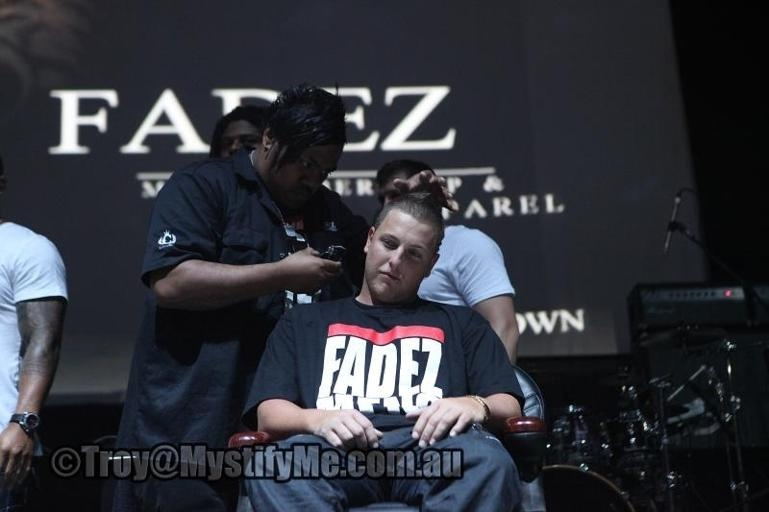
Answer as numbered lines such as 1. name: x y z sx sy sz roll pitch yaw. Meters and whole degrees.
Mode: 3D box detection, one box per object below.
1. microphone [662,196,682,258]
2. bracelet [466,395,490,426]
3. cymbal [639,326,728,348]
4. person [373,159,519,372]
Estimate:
1. microphone: 2.289 -0.220 8.066 0.044 0.633 0.075 17 -39 12
2. bracelet: 0.527 0.853 5.583 0.035 0.132 0.131 -26 10 12
3. cymbal: 2.276 0.619 7.735 0.679 0.147 0.221 -6 -12 16
4. person: 0.258 0.039 6.628 1.135 0.515 1.572 12 -37 12
